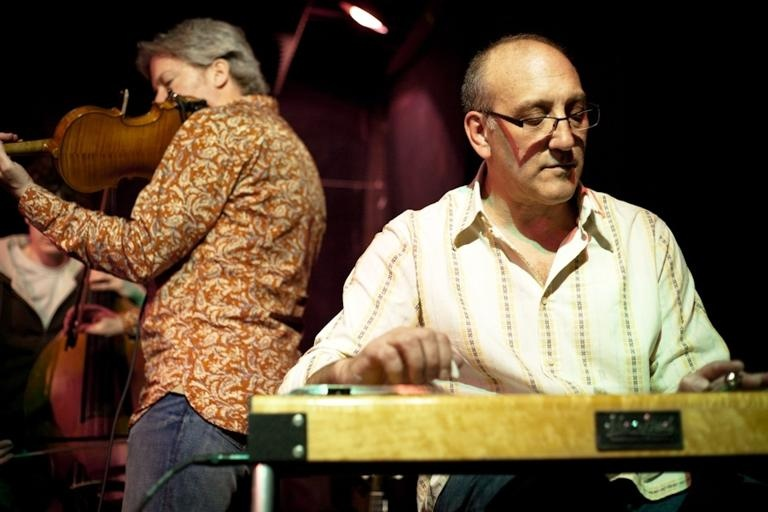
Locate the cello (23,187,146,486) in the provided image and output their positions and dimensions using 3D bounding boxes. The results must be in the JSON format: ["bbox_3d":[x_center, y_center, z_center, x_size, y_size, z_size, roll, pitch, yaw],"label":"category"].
[{"bbox_3d":[-1.435,0.356,4.072,0.695,1.388,0.410,8,-12,-37],"label":"cello"}]

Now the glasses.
[{"bbox_3d":[0.613,-0.460,2.999,0.295,0.142,0.230,1,3,4],"label":"glasses"}]

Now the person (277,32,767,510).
[{"bbox_3d":[0.485,0.096,2.781,1.325,1.649,0.997,6,11,9],"label":"person"}]

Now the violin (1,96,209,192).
[{"bbox_3d":[-1.040,-0.431,3.222,0.801,0.326,0.234,-5,26,-21],"label":"violin"}]
